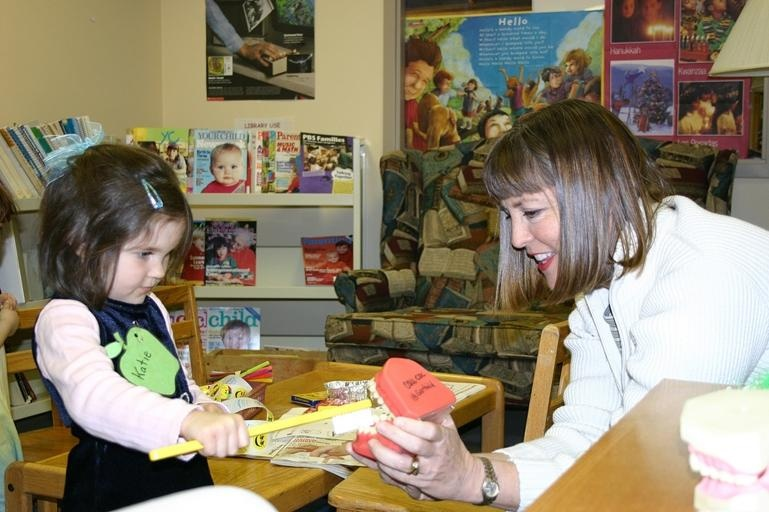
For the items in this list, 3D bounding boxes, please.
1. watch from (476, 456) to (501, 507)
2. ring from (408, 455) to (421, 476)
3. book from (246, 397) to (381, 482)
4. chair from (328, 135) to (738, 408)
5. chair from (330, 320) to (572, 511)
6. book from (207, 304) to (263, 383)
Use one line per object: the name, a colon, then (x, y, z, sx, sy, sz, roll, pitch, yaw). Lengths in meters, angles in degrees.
watch: (0.190, 0.408, 1.072, 0.028, 0.051, 0.063, -3, 57, -1)
ring: (0.050, 0.347, 0.995, 0.030, 0.029, 0.026, 5, 7, -4)
book: (-0.163, 0.419, 1.294, 0.201, 0.031, 0.221, 2, 14, 22)
chair: (0.731, -0.072, 3.178, 1.635, 1.602, 1.371, 3, -13, 16)
chair: (0.201, 0.260, 1.321, 0.425, 0.616, 0.389, 2, 1, 14)
book: (-0.875, 0.444, 3.341, 0.418, 0.276, 0.376, -6, 59, -11)
